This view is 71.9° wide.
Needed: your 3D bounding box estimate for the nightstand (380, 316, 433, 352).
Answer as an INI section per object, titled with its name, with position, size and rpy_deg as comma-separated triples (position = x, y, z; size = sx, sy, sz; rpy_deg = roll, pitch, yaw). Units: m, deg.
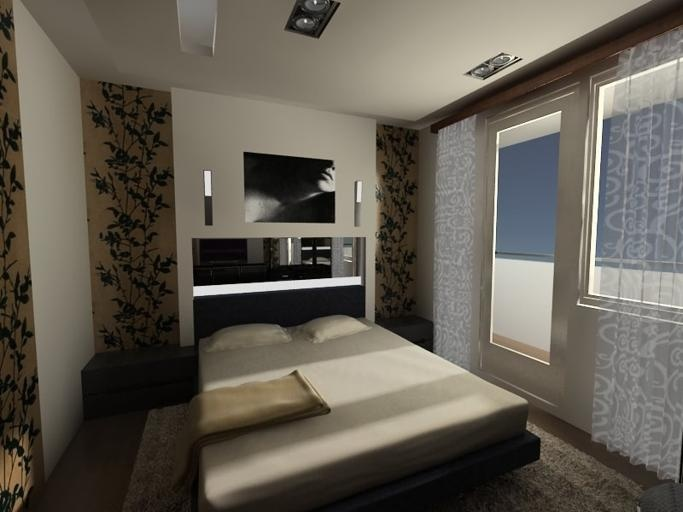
[nightstand]
position = 0.780, 1.027, 5.586
size = 0.575, 0.408, 0.336
rpy_deg = 0, -1, -31
